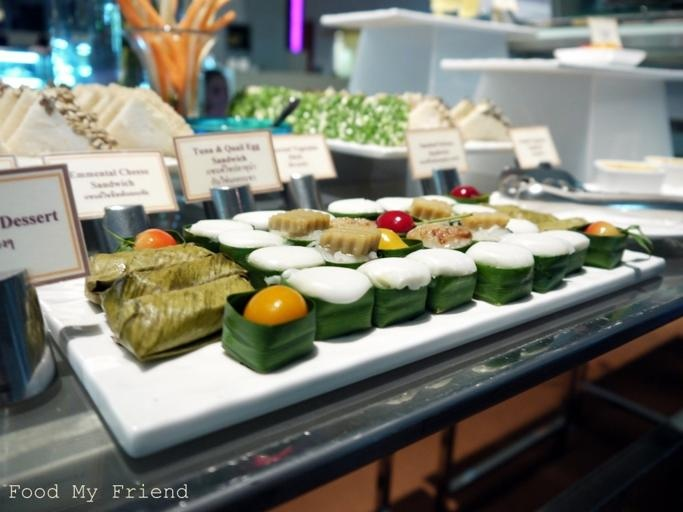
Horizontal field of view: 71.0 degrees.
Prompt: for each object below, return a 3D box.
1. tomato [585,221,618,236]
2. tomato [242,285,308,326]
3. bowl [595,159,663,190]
[{"bbox_3d":[0.523,-0.053,0.966,0.040,0.024,0.046,3,7,6],"label":"tomato"},{"bbox_3d":[-0.084,0.065,0.618,0.083,0.037,0.068,-16,22,-28],"label":"tomato"},{"bbox_3d":[0.944,-0.270,1.584,0.124,0.049,0.145,1,19,-1],"label":"bowl"}]
